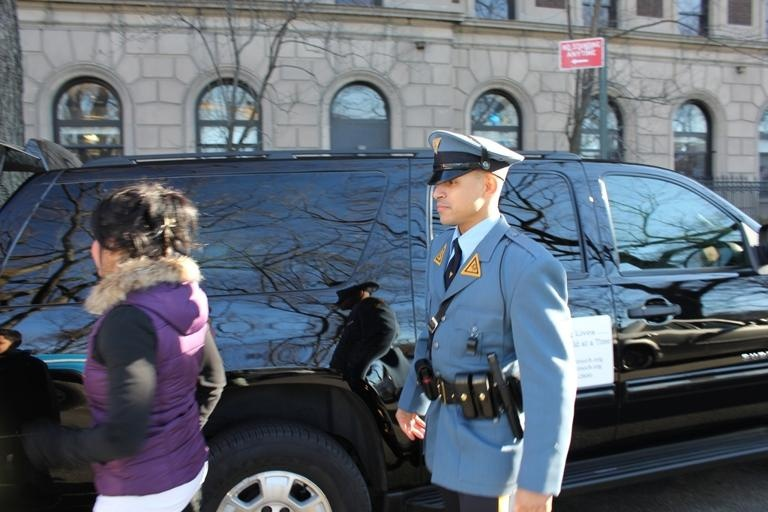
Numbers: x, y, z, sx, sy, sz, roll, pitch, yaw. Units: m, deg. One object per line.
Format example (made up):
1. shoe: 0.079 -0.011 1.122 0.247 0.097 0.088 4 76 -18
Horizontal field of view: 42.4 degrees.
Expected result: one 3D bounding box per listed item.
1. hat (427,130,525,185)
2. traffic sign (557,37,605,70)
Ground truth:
1. hat: 0.787 -0.852 8.607 0.723 0.282 0.530 -2 3 -16
2. traffic sign: 2.584 -2.641 12.940 0.590 0.397 0.332 1 6 9
